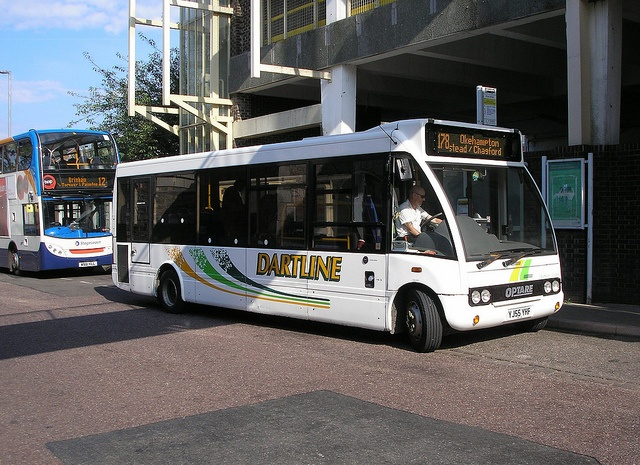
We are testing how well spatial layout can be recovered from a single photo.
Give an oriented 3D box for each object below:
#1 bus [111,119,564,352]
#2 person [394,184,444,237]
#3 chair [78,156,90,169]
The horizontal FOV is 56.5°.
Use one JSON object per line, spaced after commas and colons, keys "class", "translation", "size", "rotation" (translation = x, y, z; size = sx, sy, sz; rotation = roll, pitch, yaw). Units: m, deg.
{"class": "bus", "translation": [-0.516, -0.047, 12.712], "size": [9.168, 3.619, 3.135], "rotation": [1, 2, 38]}
{"class": "person", "translation": [1.613, -0.296, 9.598], "size": [0.817, 0.956, 0.673], "rotation": [4, 11, 8]}
{"class": "chair", "translation": [-8.568, -2.515, 21.588], "size": [0.330, 0.248, 0.776], "rotation": [-1, 0, 5]}
